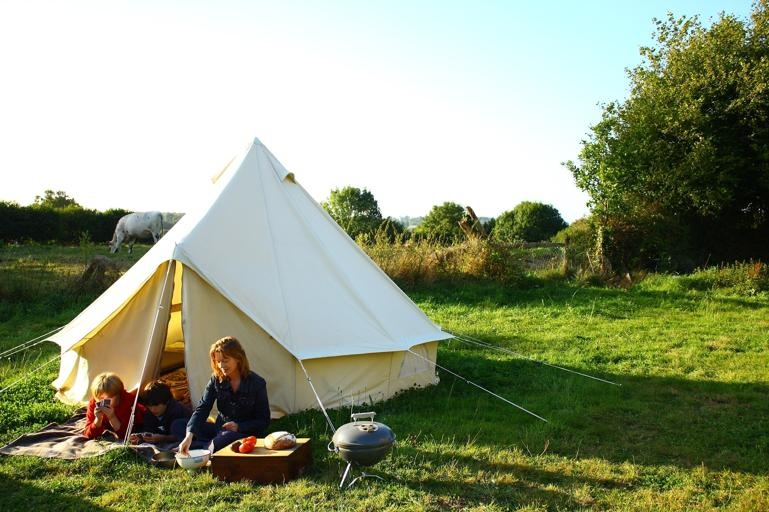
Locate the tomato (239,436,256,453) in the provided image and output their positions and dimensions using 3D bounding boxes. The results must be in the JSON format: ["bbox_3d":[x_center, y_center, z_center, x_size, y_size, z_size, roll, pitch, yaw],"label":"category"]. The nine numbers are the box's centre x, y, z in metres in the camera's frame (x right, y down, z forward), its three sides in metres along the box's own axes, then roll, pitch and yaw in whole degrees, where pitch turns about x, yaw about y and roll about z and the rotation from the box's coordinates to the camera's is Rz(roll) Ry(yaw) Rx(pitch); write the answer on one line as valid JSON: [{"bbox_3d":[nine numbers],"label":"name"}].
[{"bbox_3d":[-1.944,2.682,9.320,0.268,0.181,0.225,-3,9,-13],"label":"tomato"}]

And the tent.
[{"bbox_3d":[-2.488,0.398,12.503,6.496,4.550,6.470,-7,-4,30],"label":"tent"}]

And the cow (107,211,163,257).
[{"bbox_3d":[-9.796,-0.852,25.718,2.594,1.552,0.887,-11,-7,16],"label":"cow"}]

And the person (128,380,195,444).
[{"bbox_3d":[-3.412,2.431,10.032,0.687,0.847,0.977,2,0,20],"label":"person"}]

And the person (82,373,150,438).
[{"bbox_3d":[-4.155,2.293,10.339,0.702,1.016,0.928,2,-2,-5],"label":"person"}]
